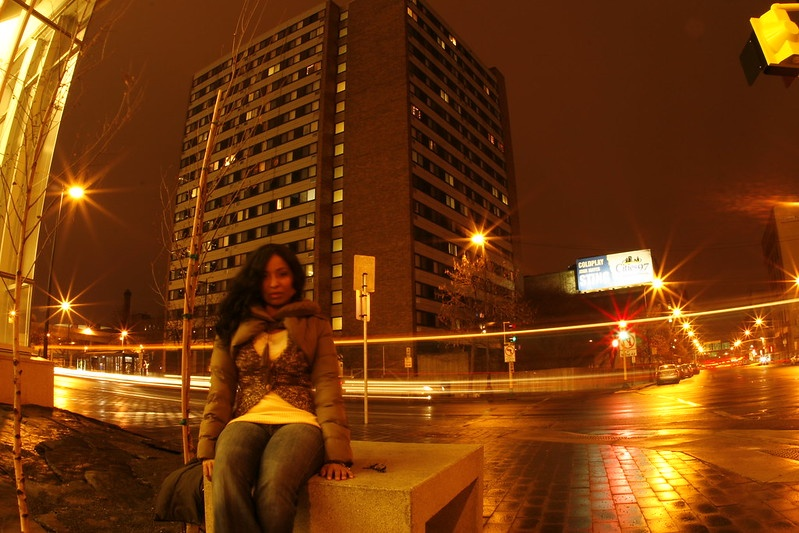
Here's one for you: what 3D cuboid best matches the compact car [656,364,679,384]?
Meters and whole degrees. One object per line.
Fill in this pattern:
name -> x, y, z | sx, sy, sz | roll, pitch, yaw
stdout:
compact car -> 20.545, 8.240, 43.020 | 2.125, 1.640, 1.139 | 7, -20, -25

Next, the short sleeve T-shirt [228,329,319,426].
short sleeve T-shirt -> -1.148, 1.197, 5.788 | 0.961, 1.304, 0.746 | 0, -32, -5

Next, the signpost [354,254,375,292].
signpost -> -1.025, 0.103, 16.525 | 0.582, 1.170, 0.607 | 2, -18, -11
